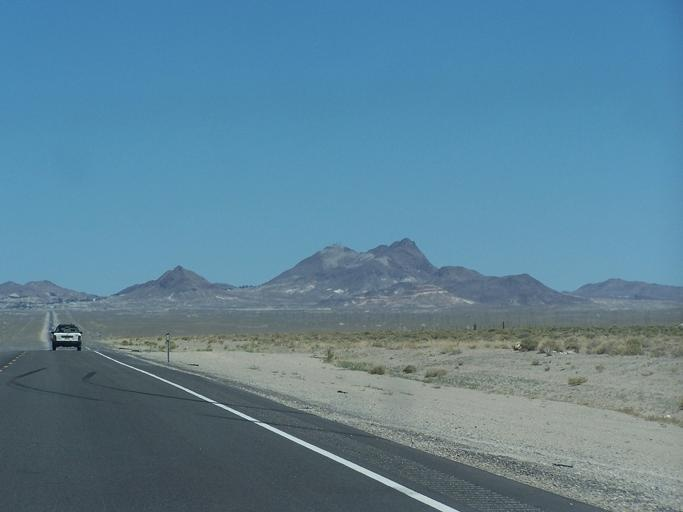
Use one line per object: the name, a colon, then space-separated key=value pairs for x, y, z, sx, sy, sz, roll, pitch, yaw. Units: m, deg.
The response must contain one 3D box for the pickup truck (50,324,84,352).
pickup truck: x=-21.930 y=6.623 z=51.802 sx=1.954 sy=1.649 sz=3.874 roll=1 pitch=-9 yaw=-14
